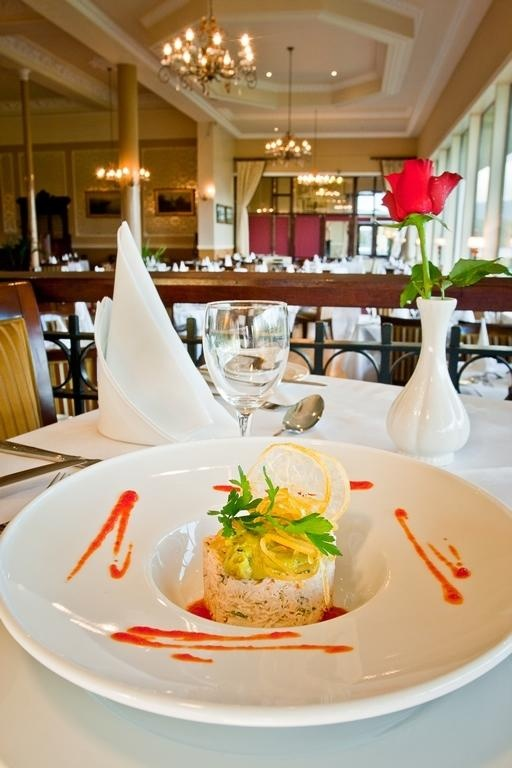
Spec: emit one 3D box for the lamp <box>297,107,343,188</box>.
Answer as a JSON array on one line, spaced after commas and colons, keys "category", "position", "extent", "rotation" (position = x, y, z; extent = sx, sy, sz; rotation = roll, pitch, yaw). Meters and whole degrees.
[{"category": "lamp", "position": [1.413, -5.196, 11.829], "extent": [1.057, 1.796, 1.063], "rotation": [-3, 22, -6]}]
